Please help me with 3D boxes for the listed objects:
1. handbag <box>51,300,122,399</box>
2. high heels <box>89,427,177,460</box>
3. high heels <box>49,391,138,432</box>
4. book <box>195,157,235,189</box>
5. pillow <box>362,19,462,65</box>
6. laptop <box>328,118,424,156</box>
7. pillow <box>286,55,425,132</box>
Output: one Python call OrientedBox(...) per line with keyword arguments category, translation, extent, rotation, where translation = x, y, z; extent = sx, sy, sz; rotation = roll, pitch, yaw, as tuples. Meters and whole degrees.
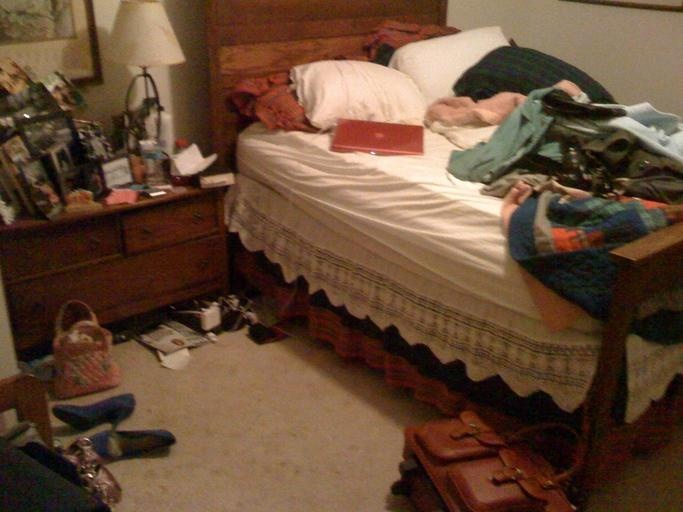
OrientedBox(category="handbag", translation=(-1.060, 0.359, 2.206), extent=(0.271, 0.375, 0.172), rotation=(-13, -2, -38))
OrientedBox(category="high heels", translation=(-0.765, 0.672, 2.022), extent=(0.341, 0.110, 0.099), rotation=(-2, 40, -19))
OrientedBox(category="high heels", translation=(-0.920, 0.585, 2.109), extent=(0.336, 0.109, 0.103), rotation=(-1, 29, -28))
OrientedBox(category="book", translation=(-0.600, -0.384, 2.539), extent=(0.188, 0.040, 0.180), rotation=(-23, 47, -36))
OrientedBox(category="pillow", translation=(0.393, -1.264, 3.156), extent=(0.473, 0.137, 0.332), rotation=(-16, 40, -22))
OrientedBox(category="laptop", translation=(0.158, -0.530, 2.458), extent=(0.401, 0.083, 0.304), rotation=(5, 29, 1))
OrientedBox(category="pillow", translation=(0.096, -0.751, 2.703), extent=(0.594, 0.160, 0.402), rotation=(-4, 62, -28))
